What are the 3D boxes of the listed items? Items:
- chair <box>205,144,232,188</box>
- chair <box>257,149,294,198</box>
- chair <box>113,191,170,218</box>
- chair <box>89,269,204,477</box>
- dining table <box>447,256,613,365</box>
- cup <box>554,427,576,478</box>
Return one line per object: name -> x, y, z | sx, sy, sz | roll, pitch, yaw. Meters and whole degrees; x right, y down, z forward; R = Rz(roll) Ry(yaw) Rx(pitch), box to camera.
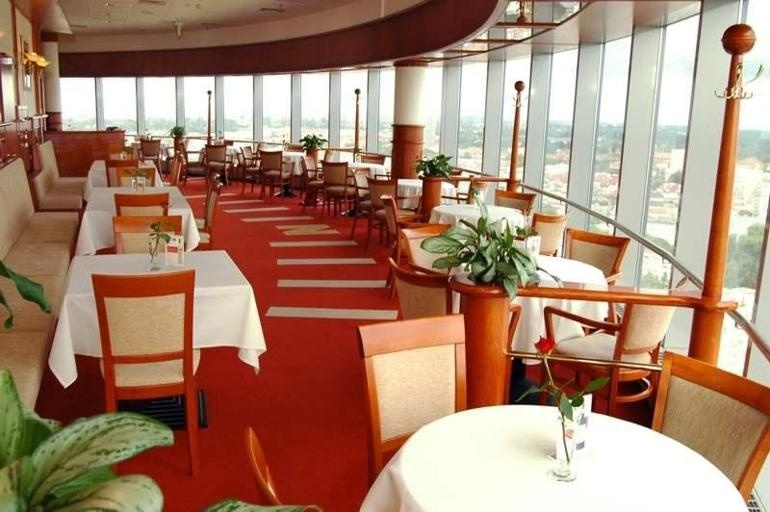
chair -> -4.071, -2.249, 13.328 | 0.568, 0.979, 0.819 | -3, 15, -17
chair -> -2.336, -1.806, 11.867 | 0.663, 1.045, 1.709 | -1, 14, -10
chair -> -2.223, -0.480, 4.988 | 0.454, 0.201, 0.133 | -1, 15, -10
chair -> -1.305, 0.634, 3.045 | 0.525, 1.135, 0.356 | -2, 15, -14
dining table -> 1.145, 0.311, 4.000 | 0.952, 0.462, 0.952 | 0, 26, -5
cup -> 0.648, 0.679, 1.943 | 0.071, 0.174, 0.135 | 7, 16, 21
